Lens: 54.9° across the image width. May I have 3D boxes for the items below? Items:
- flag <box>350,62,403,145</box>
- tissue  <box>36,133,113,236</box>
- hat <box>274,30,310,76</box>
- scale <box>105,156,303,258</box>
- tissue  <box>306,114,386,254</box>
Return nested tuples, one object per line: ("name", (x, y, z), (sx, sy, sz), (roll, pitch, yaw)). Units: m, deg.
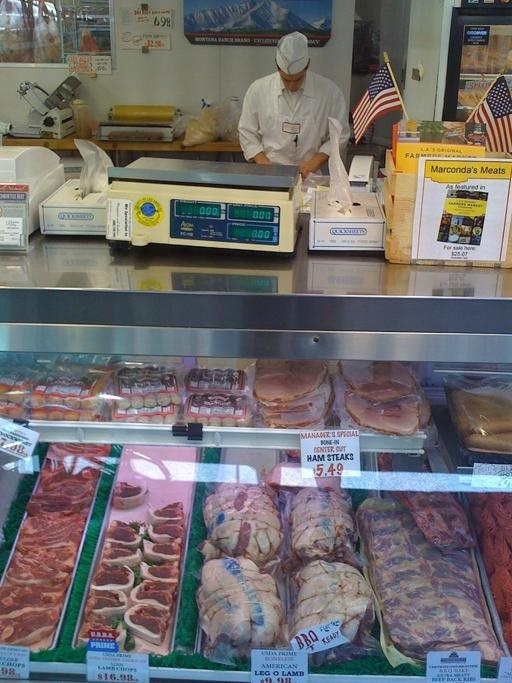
("flag", (0.276, -0.557, 1.209), (0.112, 0.230, 0.145), (1, 25, 13))
("tissue ", (-0.415, -0.355, 1.132), (0.172, 0.198, 0.394), (-7, 25, -14))
("hat", (0.237, -1.879, 3.217), (0.196, 0.237, 0.233), (1, 24, 3))
("scale", (-0.113, -0.250, 0.936), (0.371, 0.146, 0.078), (4, 24, 10))
("tissue ", (0.206, -0.380, 1.133), (0.162, 0.250, 0.461), (3, 24, 8))
